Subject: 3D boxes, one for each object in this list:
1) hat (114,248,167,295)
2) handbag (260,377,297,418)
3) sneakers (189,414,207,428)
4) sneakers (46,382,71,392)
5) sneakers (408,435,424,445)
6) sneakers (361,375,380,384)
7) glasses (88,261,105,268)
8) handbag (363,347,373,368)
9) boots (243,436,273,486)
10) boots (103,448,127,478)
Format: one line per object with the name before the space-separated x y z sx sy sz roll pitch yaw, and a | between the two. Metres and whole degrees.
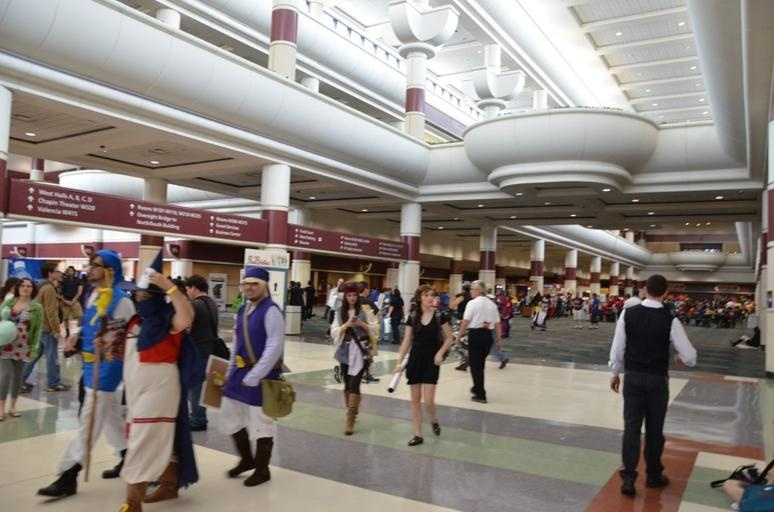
hat | -2.387 0.158 4.781 0.539 0.419 0.450 6 -1 15
handbag | -1.179 1.511 5.156 0.339 0.314 0.170 5 -3 -14
sneakers | -2.553 2.245 6.591 0.237 0.141 0.272 1 -3 -2
sneakers | -5.586 2.226 8.250 0.317 0.108 0.130 -1 1 -19
sneakers | 0.371 2.425 6.396 0.219 0.081 0.104 10 -15 -34
sneakers | -0.346 2.488 9.835 0.414 0.134 0.139 -3 -7 17
glasses | -2.873 0.084 4.792 0.085 0.026 0.095 3 -9 8
handbag | -0.288 1.482 7.001 0.086 0.224 0.185 5 -1 9
boots | -1.339 2.184 5.258 0.197 0.384 0.337 3 -3 33
boots | -2.968 2.190 5.261 0.183 0.313 0.563 6 -3 -29
